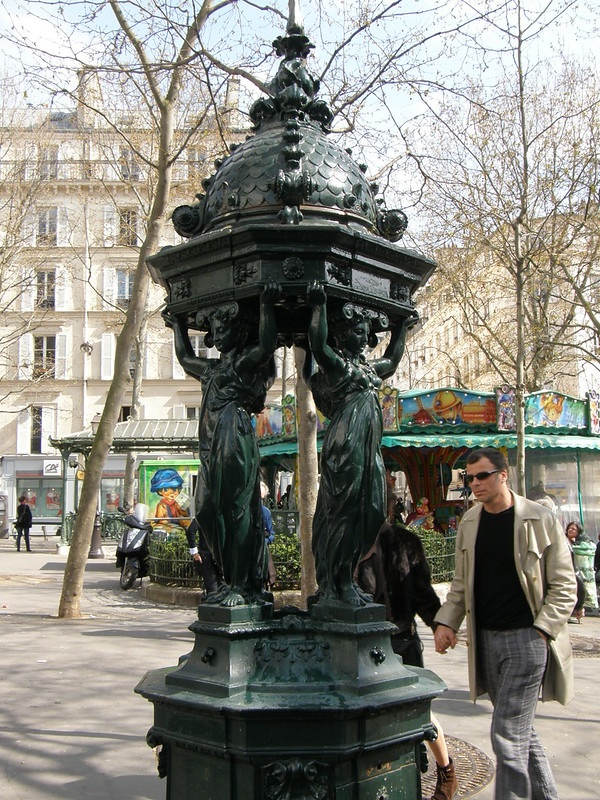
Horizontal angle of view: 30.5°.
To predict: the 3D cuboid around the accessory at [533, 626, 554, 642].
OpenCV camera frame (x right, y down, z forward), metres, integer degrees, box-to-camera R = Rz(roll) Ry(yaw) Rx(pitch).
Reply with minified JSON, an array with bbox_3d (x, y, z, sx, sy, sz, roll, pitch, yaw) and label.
[{"bbox_3d":[1.147,1.104,5.189,0.073,0.028,0.064,35,-7,-8],"label":"accessory"}]
